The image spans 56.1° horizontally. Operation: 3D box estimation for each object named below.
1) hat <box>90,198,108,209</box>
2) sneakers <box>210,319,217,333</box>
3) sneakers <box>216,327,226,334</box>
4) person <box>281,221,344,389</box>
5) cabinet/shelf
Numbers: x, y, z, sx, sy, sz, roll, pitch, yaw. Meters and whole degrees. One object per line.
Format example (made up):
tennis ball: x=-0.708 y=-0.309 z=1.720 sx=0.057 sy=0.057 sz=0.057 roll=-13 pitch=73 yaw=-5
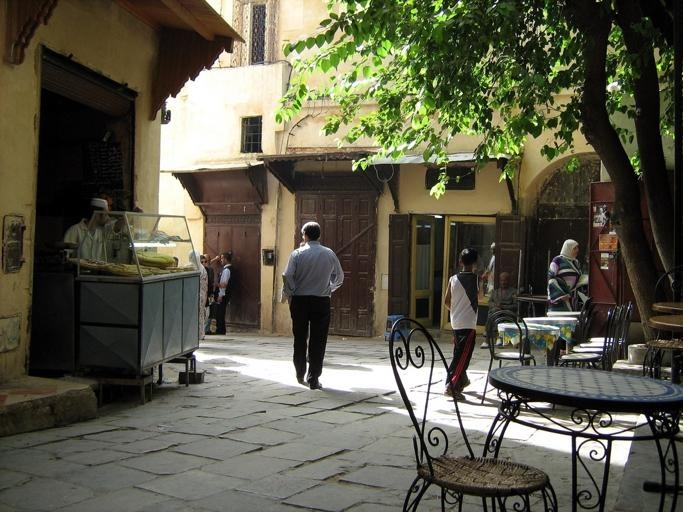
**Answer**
hat: x=-3.290 y=-0.708 z=8.710 sx=0.205 sy=0.149 sz=0.164 roll=-7 pitch=9 yaw=-33
sneakers: x=-3.189 y=1.757 z=16.145 sx=0.185 sy=0.305 sz=0.277 roll=3 pitch=8 yaw=-4
sneakers: x=-3.051 y=1.905 z=16.246 sx=0.234 sy=0.198 sz=0.141 roll=1 pitch=-10 yaw=-9
person: x=-0.392 y=0.653 z=8.817 sx=0.791 sy=2.263 sz=0.582 roll=0 pitch=-2 yaw=-1
cabinet/shelf: x=-2.534 y=0.460 z=7.833 sx=0.666 sy=1.836 sz=1.925 roll=-1 pitch=-2 yaw=8
